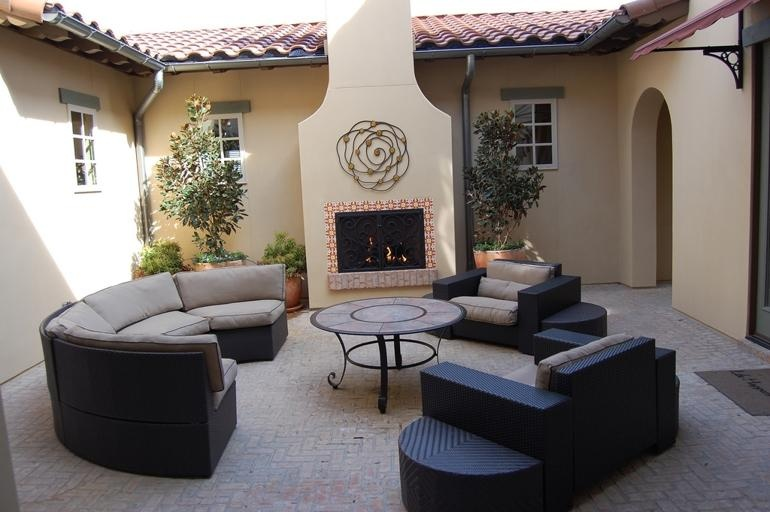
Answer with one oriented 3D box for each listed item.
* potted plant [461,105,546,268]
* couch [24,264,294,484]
[{"bbox_3d":[2.148,-1.400,9.853,1.348,2.525,1.317,4,12,30],"label":"potted plant"},{"bbox_3d":[-2.617,1.120,6.659,2.234,1.474,3.318,-1,9,2],"label":"couch"}]
